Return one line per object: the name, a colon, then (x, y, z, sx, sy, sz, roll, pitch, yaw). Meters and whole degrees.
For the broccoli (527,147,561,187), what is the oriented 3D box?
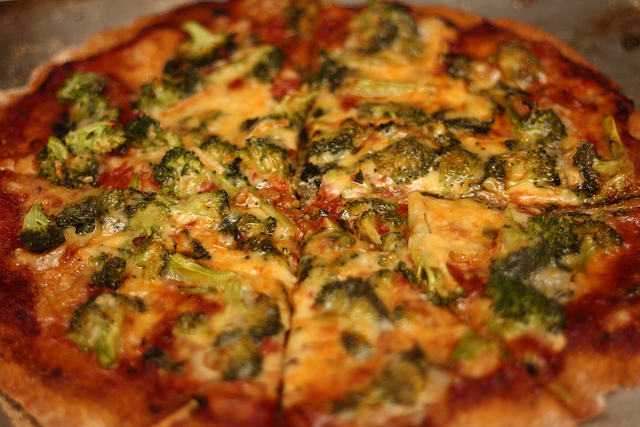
broccoli: (1.274, -0.278, 3.843, 0.142, 0.211, 0.056, -10, 46, -18)

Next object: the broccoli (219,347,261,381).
broccoli: (-0.401, 0.777, 3.331, 0.177, 0.074, 0.164, 14, 83, 3)

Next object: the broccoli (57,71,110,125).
broccoli: (-1.433, -0.717, 3.984, 0.296, 0.095, 0.290, -21, 83, -2)

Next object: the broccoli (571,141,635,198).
broccoli: (1.641, -0.251, 3.805, 0.315, 0.095, 0.306, -14, 54, -5)

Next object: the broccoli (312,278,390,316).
broccoli: (0.166, 0.451, 3.496, 0.402, 0.087, 0.195, -1, 83, 1)

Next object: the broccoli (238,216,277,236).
broccoli: (-0.345, 0.076, 3.652, 0.179, 0.063, 0.097, 0, 77, -10)

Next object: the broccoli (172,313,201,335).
broccoli: (-0.692, 0.584, 3.396, 0.101, 0.031, 0.102, 38, 75, 25)

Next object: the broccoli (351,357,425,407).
broccoli: (0.343, 0.849, 3.277, 0.372, 0.092, 0.211, -4, 83, 1)

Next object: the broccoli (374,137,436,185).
broccoli: (0.503, -0.311, 3.858, 0.311, 0.101, 0.274, -39, 70, -6)

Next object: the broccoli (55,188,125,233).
broccoli: (-1.298, 0.000, 3.710, 0.307, 0.086, 0.194, -25, 51, -30)

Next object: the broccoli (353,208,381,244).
broccoli: (0.275, 0.079, 3.724, 0.167, 0.056, 0.162, 16, 97, 34)

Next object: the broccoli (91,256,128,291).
broccoli: (-1.115, 0.329, 3.501, 0.166, 0.041, 0.164, 23, 66, -15)

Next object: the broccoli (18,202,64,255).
broccoli: (-1.548, 0.108, 3.573, 0.199, 0.105, 0.254, -34, 83, -3)

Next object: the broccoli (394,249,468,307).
broccoli: (0.610, 0.345, 3.519, 0.225, 0.093, 0.342, -37, 70, 6)

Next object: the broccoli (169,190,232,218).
broccoli: (-0.670, -0.046, 3.692, 0.276, 0.060, 0.157, -5, 68, -3)

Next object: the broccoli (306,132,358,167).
broccoli: (0.071, -0.390, 4.005, 0.310, 0.047, 0.168, -21, 83, -2)

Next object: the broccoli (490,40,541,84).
broccoli: (1.219, -0.954, 4.071, 0.308, 0.072, 0.205, 42, 91, 11)

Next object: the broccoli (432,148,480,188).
broccoli: (0.807, -0.276, 3.830, 0.269, 0.071, 0.206, -26, 83, -2)

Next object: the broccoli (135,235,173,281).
broccoli: (-0.904, 0.251, 3.596, 0.204, 0.053, 0.204, -43, 86, -8)

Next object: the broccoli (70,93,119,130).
broccoli: (-1.393, -0.639, 4.041, 0.238, 0.073, 0.228, -13, 94, -12)

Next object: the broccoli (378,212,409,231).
broccoli: (0.426, 0.044, 3.692, 0.110, 0.031, 0.109, 7, 29, 11)

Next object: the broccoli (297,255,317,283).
broccoli: (-0.071, 0.310, 3.645, 0.032, 0.089, 0.147, 40, 69, -7)

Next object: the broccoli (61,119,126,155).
broccoli: (-1.356, -0.472, 3.918, 0.313, 0.114, 0.193, -4, 80, -8)

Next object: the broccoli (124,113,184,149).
broccoli: (-1.025, -0.467, 4.030, 0.276, 0.109, 0.200, 42, 87, 1)
